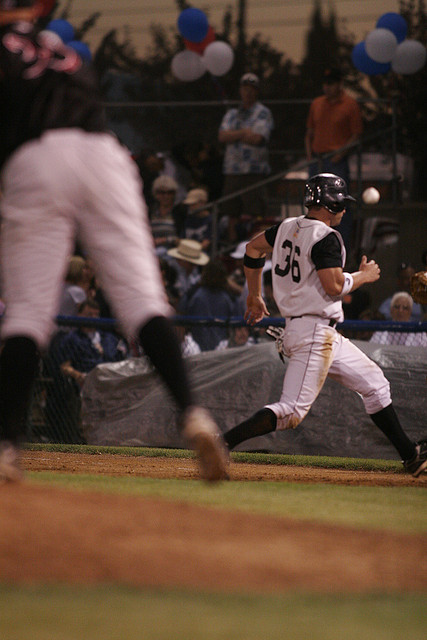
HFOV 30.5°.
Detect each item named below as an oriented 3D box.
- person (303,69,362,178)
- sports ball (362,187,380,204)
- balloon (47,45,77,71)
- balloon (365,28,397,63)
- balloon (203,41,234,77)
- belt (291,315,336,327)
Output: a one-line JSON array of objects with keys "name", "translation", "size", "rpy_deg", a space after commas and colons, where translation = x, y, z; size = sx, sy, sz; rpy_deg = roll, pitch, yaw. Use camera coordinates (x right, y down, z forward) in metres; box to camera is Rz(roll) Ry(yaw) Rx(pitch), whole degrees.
[{"name": "person", "translation": [1.321, -2.114, 8.555], "size": [0.584, 1.037, 0.783], "rpy_deg": [11, 11, 3]}, {"name": "sports ball", "translation": [2.011, -1.563, 9.897], "size": [0.258, 0.226, 0.225], "rpy_deg": [2, 18, 17]}, {"name": "balloon", "translation": [-0.526, -0.912, 2.748], "size": [0.059, 0.094, 0.103], "rpy_deg": [15, 12, 23]}, {"name": "balloon", "translation": [1.638, -2.684, 7.774], "size": [0.375, 0.315, 0.320], "rpy_deg": [-2, 0, 1]}, {"name": "balloon", "translation": [0.032, -2.840, 8.613], "size": [0.418, 0.359, 0.368], "rpy_deg": [2, 5, 14]}, {"name": "belt", "translation": [0.521, 0.004, 4.091], "size": [0.234, 0.038, 0.048], "rpy_deg": [7, 10, 3]}]
